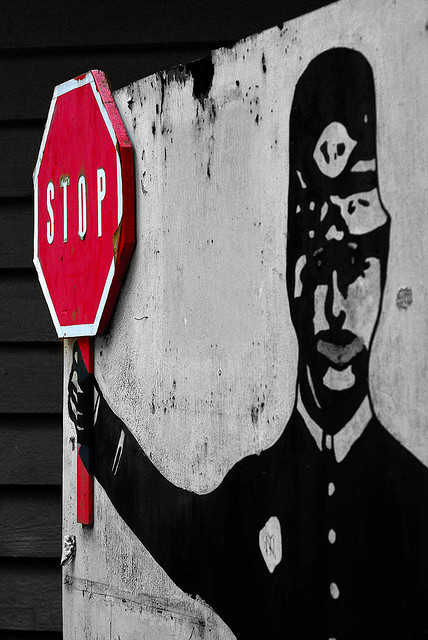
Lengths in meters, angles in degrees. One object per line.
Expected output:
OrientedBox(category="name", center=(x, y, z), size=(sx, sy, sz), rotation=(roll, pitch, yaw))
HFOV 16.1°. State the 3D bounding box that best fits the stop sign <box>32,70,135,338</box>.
OrientedBox(category="stop sign", center=(-0.333, -0.298, 3.971), size=(0.049, 1.140, 0.569), rotation=(1, -3, -25))
